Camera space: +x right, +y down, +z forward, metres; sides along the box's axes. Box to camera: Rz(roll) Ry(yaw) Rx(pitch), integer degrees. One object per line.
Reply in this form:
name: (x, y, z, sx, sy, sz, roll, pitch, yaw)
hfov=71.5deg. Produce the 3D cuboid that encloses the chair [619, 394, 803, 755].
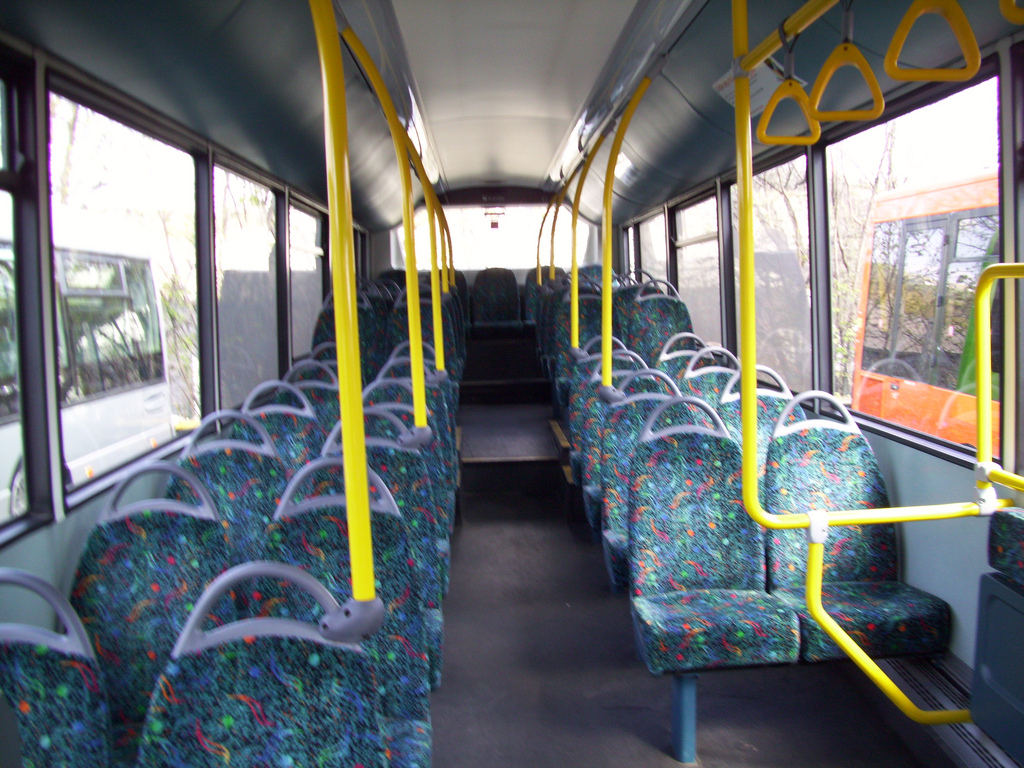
chair: (0.734, 0.669, 2.683, 0.575, 1.144, 0.749, 0, 10, 6)
